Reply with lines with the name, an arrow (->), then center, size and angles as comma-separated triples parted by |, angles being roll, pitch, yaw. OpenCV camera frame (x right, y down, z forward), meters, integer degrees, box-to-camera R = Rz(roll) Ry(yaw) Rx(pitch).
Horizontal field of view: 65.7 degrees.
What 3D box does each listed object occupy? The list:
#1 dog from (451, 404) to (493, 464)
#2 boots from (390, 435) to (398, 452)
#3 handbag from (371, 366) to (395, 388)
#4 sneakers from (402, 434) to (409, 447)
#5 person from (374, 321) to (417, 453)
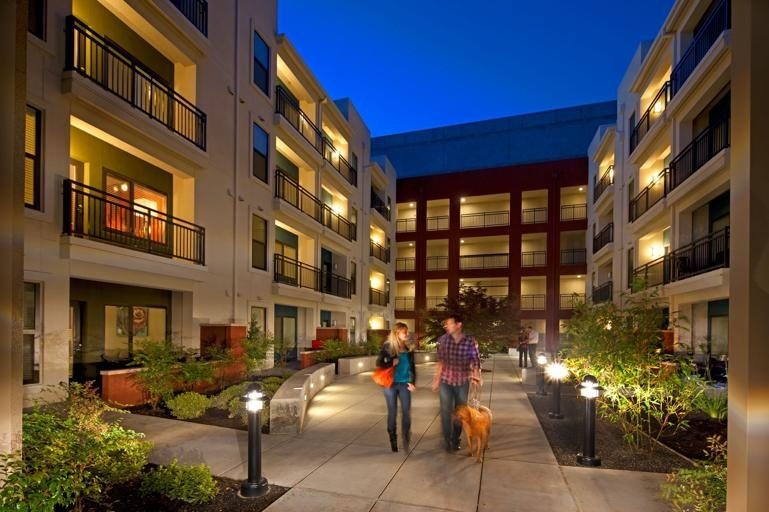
dog -> 1.904, 3.765, 12.842 | 0.716, 1.120, 1.169 | -3, -15, 9
boots -> 0.207, 4.079, 13.037 | 0.146, 0.375, 0.270 | -1, -14, -1
handbag -> -0.014, 2.668, 13.167 | 0.432, 0.444, 0.313 | 0, -14, -2
sneakers -> 0.478, 4.074, 13.073 | 0.134, 0.285, 0.221 | -1, -14, 1
person -> 0.242, 2.853, 13.155 | 0.841, 2.770, 0.575 | 0, -13, -2
